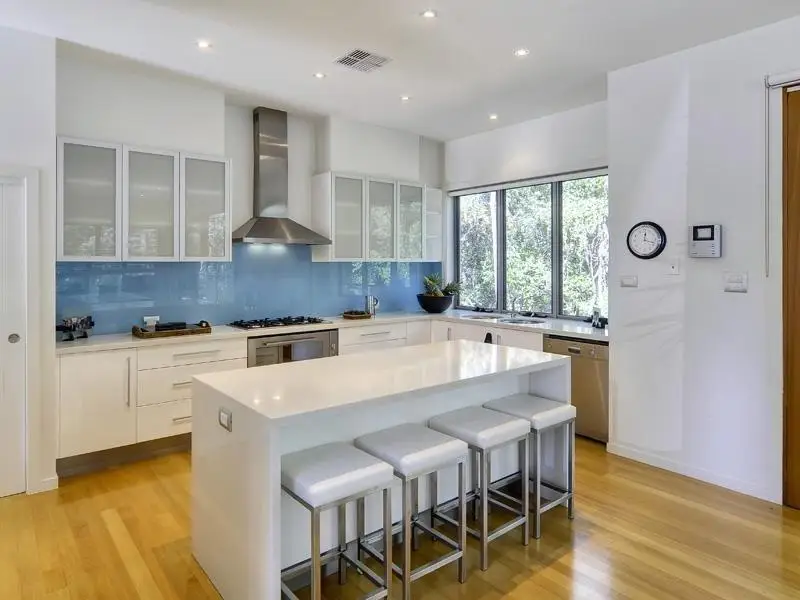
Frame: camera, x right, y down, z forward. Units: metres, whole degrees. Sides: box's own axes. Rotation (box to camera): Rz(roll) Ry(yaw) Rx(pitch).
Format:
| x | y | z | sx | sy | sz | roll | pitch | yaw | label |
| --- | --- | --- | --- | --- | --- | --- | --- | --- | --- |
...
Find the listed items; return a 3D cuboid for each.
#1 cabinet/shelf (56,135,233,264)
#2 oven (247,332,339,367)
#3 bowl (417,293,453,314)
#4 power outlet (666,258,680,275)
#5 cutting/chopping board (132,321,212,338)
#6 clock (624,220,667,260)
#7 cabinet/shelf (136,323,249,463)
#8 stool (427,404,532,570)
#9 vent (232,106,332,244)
| x | y | z | sx | sy | sz | roll | pitch | yaw | label |
| --- | --- | --- | --- | --- | --- | --- | --- | --- | --- |
| -2.464 | -0.603 | 5.390 | 1.534 | 1.131 | 0.875 | -2 | 4 | -35 | cabinet/shelf |
| -1.076 | 0.458 | 5.595 | 0.573 | 0.401 | 0.350 | -1 | 2 | -37 | oven |
| 0.398 | 0.030 | 6.798 | 0.273 | 0.146 | 0.273 | 0 | 0 | 0 | bowl |
| 2.219 | -0.277 | 4.596 | 0.019 | 0.181 | 0.125 | -4 | 6 | -38 | power outlet |
| -2.044 | 0.266 | 5.103 | 0.389 | 0.096 | 0.276 | -1 | 2 | -33 | cutting/chopping board |
| 2.044 | -0.502 | 4.709 | 0.065 | 0.292 | 0.281 | 2 | -12 | -34 | clock |
| -2.025 | 0.681 | 5.389 | 1.414 | 1.338 | 0.763 | -1 | 0 | -38 | cabinet/shelf |
| 0.520 | 1.231 | 3.868 | 0.631 | 0.968 | 0.623 | 4 | 8 | 37 | stool |
| -1.313 | -1.244 | 5.819 | 0.995 | 1.334 | 0.816 | -9 | 31 | -24 | vent |
